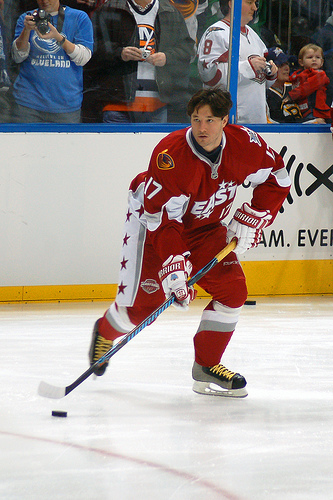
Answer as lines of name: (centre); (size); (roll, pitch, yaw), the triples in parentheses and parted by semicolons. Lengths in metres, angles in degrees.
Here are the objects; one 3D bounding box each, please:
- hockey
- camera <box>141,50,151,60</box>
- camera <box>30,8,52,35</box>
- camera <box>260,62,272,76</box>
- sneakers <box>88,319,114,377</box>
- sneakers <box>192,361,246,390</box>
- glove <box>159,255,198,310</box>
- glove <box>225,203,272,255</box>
hockey: (-0.143, 0.309, 2.537); (0.986, 0.100, 0.083); (-34, 24, -14)
camera: (-0.129, -1.181, 3.550); (0.049, 0.042, 0.052); (-1, 1, -1)
camera: (-0.729, -1.315, 3.381); (0.087, 0.116, 0.118); (-3, 43, -36)
camera: (0.649, -1.173, 3.805); (0.058, 0.082, 0.084); (13, 4, 19)
sneakers: (-0.277, 0.408, 2.362); (0.090, 0.251, 0.114); (5, 21, -6)
sneakers: (0.185, 0.468, 2.224); (0.228, 0.085, 0.076); (1, 8, 32)
glove: (0.058, 0.109, 2.062); (0.078, 0.121, 0.180); (20, 44, -45)
glove: (0.311, -0.094, 2.391); (0.157, 0.211, 0.100); (39, 0, -10)
